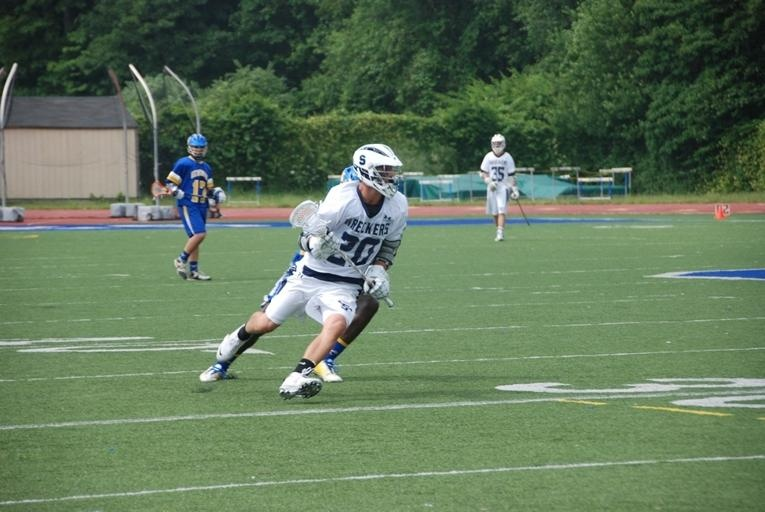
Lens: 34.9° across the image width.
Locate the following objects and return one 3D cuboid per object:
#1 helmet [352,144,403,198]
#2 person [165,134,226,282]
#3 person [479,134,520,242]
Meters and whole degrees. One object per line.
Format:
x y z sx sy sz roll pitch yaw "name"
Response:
-0.088 -0.918 13.411 0.487 0.542 0.242 -1 13 -4 "helmet"
-3.268 -0.822 20.806 0.803 2.439 1.171 0 1 44 "person"
2.607 -1.491 27.304 0.998 2.280 1.452 -1 2 -2 "person"
